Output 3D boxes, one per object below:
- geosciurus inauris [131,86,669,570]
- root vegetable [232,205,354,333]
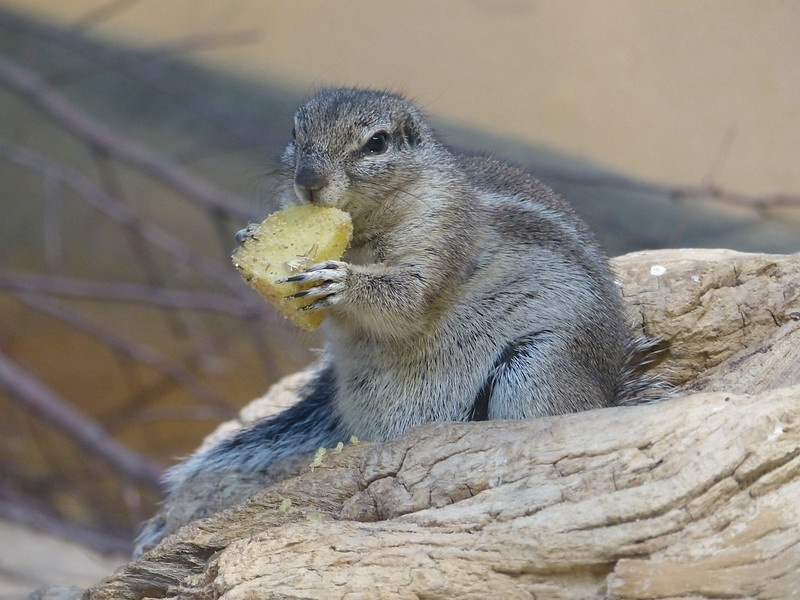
[{"bbox_3d":[0.120,0.145,8.386,2.436,2.308,1.350,6,35,0],"label":"geosciurus inauris"},{"bbox_3d":[-0.594,-0.181,8.098,0.555,0.629,0.468,11,35,8],"label":"root vegetable"}]
